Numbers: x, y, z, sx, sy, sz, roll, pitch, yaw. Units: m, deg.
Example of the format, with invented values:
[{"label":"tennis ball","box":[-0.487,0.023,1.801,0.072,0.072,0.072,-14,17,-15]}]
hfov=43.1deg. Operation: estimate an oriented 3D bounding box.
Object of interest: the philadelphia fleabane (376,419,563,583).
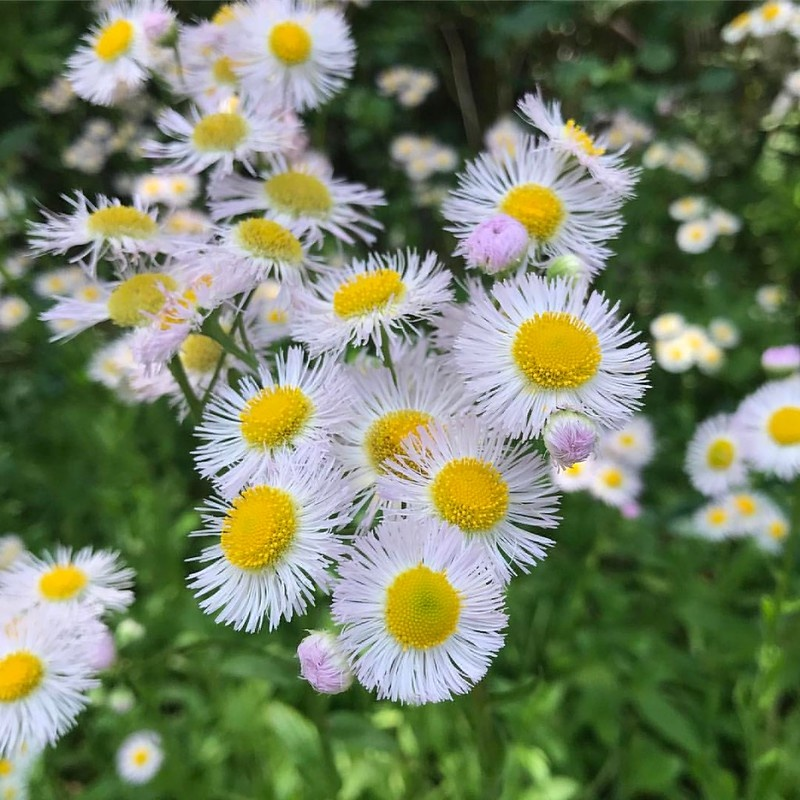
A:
[{"label":"philadelphia fleabane","box":[0.093,0.117,1.411,0.232,0.248,0.080,-7,101,-18]}]

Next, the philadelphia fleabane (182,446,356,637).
[{"label":"philadelphia fleabane","box":[-0.170,0.202,1.444,0.257,0.210,0.206,-31,81,-2]}]

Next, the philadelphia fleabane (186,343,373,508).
[{"label":"philadelphia fleabane","box":[-0.183,0.033,1.483,0.241,0.095,0.197,-18,65,7]}]

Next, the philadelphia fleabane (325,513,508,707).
[{"label":"philadelphia fleabane","box":[0.022,0.260,1.362,0.244,0.241,0.080,-5,104,-36]}]

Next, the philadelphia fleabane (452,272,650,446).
[{"label":"philadelphia fleabane","box":[0.210,-0.080,1.429,0.242,0.249,0.078,-25,45,32]}]
